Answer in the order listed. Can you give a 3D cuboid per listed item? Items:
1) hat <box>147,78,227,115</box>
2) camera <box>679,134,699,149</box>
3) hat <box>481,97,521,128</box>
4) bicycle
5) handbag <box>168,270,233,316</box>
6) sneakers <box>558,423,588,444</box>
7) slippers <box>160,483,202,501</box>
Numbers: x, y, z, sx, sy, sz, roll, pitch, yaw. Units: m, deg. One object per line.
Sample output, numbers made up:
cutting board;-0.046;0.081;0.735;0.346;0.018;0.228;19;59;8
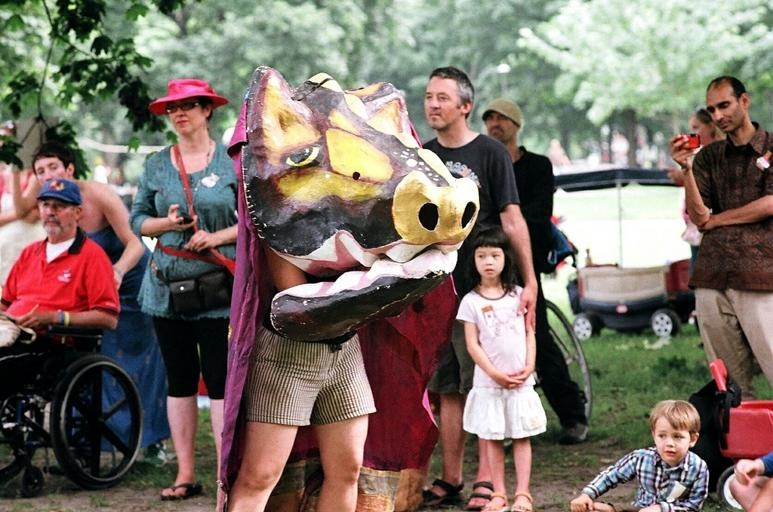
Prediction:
hat;-1.693;-1.412;11.058;0.656;0.202;0.610;-2;-7;1
camera;2.497;-0.943;10.482;0.131;0.129;0.095;-4;-4;3
hat;1.140;-1.380;12.022;0.256;0.170;0.348;16;-12;44
bicycle;1.700;1.196;12.319;0.280;1.191;0.941;-14;-5;28
handbag;-1.543;0.292;10.979;0.596;0.347;0.392;-13;-5;9
sneakers;1.805;1.729;12.289;0.144;0.124;0.315;-2;-10;-9
slippers;-1.796;2.062;11.170;0.356;0.110;0.144;1;-2;-31
